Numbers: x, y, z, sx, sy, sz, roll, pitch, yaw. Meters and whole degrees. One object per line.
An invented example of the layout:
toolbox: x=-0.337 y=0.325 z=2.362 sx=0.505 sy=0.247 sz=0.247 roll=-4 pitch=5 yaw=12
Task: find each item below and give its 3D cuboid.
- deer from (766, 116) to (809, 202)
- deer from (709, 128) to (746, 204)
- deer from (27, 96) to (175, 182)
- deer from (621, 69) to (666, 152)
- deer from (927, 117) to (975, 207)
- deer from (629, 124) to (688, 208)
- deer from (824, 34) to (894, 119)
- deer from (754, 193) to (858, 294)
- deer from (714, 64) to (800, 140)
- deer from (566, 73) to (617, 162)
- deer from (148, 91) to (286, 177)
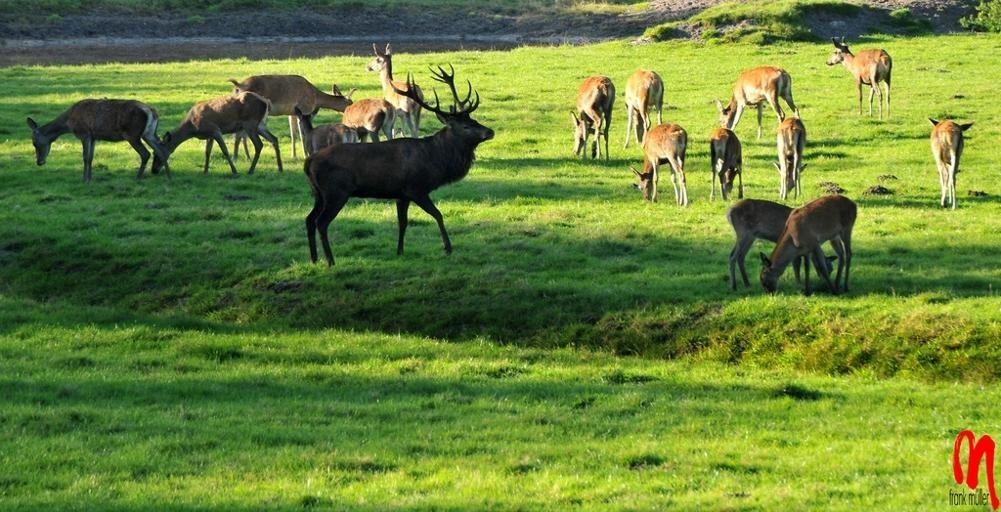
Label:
deer: x=12.827 y=-4.319 z=64.672 sx=1.145 sy=3.445 sz=2.399 roll=0 pitch=10 yaw=11
deer: x=10.660 y=-4.075 z=64.216 sx=1.454 sy=3.470 sz=3.044 roll=2 pitch=1 yaw=4
deer: x=-18.636 y=-5.245 z=67.650 sx=6.899 sy=3.523 sz=1.625 roll=-2 pitch=5 yaw=22
deer: x=6.953 y=-7.431 z=70.998 sx=2.030 sy=4.006 sz=4.189 roll=2 pitch=1 yaw=22
deer: x=19.440 y=-3.962 z=63.663 sx=1.197 sy=3.675 sz=1.507 roll=0 pitch=10 yaw=8
deer: x=7.162 y=-3.869 z=65.465 sx=1.741 sy=4.088 sz=4.310 roll=0 pitch=1 yaw=-15
deer: x=18.882 y=-9.720 z=75.374 sx=2.911 sy=4.877 sz=6.204 roll=3 pitch=3 yaw=20
deer: x=12.545 y=-0.482 z=59.210 sx=3.520 sy=3.930 sz=1.155 roll=0 pitch=10 yaw=6
deer: x=12.769 y=-7.439 z=72.724 sx=1.538 sy=3.354 sz=6.244 roll=1 pitch=-5 yaw=-27
deer: x=4.492 y=-6.694 z=70.600 sx=1.917 sy=3.876 sz=3.677 roll=-1 pitch=9 yaw=3
deer: x=-13.220 y=-5.265 z=67.688 sx=6.143 sy=3.641 sz=1.690 roll=-9 pitch=-3 yaw=4
